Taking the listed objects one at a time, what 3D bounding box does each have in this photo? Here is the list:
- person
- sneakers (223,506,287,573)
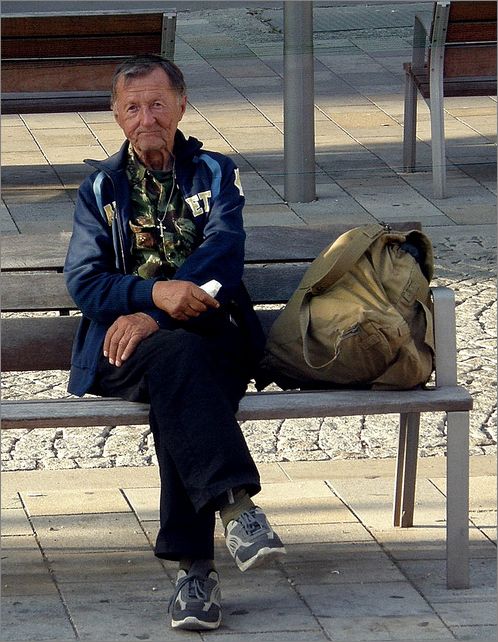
[{"bbox_3d":[-0.243,-0.011,2.625,0.539,1.285,1.076,-8,21,1],"label":"person"},{"bbox_3d":[0.003,0.490,2.340,0.091,0.073,0.188,-28,1,-7],"label":"sneakers"}]
